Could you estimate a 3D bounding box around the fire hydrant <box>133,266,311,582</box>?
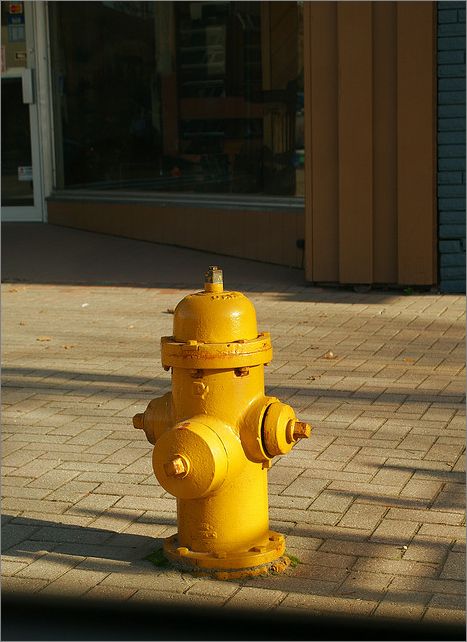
[{"bbox_3d":[-0.041,0.367,3.677,0.625,1.100,0.469,-3,11,-7],"label":"fire hydrant"}]
